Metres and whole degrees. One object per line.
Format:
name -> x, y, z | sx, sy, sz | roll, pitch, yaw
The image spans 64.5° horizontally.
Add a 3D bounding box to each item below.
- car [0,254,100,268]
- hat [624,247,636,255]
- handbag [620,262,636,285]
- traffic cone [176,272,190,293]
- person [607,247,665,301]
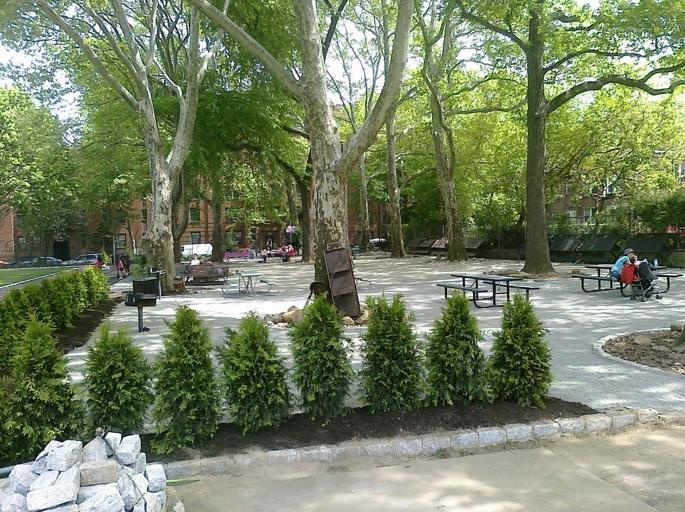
car -> -31.772, 0.503, 58.075 | 6.904, 0.822, 1.006 | -3, 8, -4
hat -> 11.040, -0.199, 20.845 | 0.491, 0.181, 0.550 | 0, 3, 40
handbag -> 8.659, 0.541, 16.509 | 0.636, 0.885, 0.526 | -1, -3, 29
traffic cone -> -7.050, 1.169, 23.895 | 0.621, 0.905, 0.638 | -2, 6, -6
person -> 8.892, 0.544, 16.506 | 0.957, 1.470, 1.387 | -8, 12, -43
